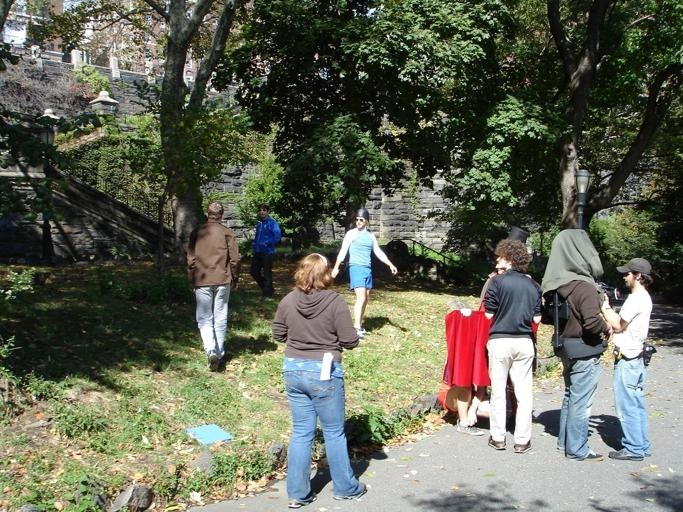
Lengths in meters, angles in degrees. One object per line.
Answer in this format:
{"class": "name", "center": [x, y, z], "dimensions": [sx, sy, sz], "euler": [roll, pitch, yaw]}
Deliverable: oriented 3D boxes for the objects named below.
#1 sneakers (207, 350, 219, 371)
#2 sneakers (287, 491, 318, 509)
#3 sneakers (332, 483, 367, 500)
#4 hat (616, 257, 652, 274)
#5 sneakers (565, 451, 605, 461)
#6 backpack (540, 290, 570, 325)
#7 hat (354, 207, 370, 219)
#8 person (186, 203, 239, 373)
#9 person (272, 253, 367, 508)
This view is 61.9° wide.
{"class": "sneakers", "center": [-2.039, 1.657, 9.009], "dimensions": [0.174, 0.357, 0.242], "euler": [3, 4, -14]}
{"class": "sneakers", "center": [-0.429, 2.674, 6.210], "dimensions": [0.108, 0.114, 0.294], "euler": [11, 16, 37]}
{"class": "sneakers", "center": [0.097, 2.625, 6.370], "dimensions": [0.372, 0.142, 0.143], "euler": [-7, 15, -19]}
{"class": "hat", "center": [3.763, 0.143, 7.283], "dimensions": [0.366, 0.166, 0.251], "euler": [2, -1, 26]}
{"class": "sneakers", "center": [3.059, 2.540, 7.162], "dimensions": [0.426, 0.157, 0.155], "euler": [-2, -1, -3]}
{"class": "backpack", "center": [2.709, 0.657, 7.252], "dimensions": [0.169, 0.381, 0.308], "euler": [2, -4, -41]}
{"class": "hat", "center": [0.401, -0.807, 10.887], "dimensions": [0.265, 0.225, 0.231], "euler": [3, 7, -38]}
{"class": "person", "center": [-2.092, 0.501, 9.061], "dimensions": [0.747, 2.647, 0.469], "euler": [5, 5, 17]}
{"class": "person", "center": [-0.255, 1.357, 6.252], "dimensions": [1.083, 2.735, 0.495], "euler": [4, 4, -2]}
